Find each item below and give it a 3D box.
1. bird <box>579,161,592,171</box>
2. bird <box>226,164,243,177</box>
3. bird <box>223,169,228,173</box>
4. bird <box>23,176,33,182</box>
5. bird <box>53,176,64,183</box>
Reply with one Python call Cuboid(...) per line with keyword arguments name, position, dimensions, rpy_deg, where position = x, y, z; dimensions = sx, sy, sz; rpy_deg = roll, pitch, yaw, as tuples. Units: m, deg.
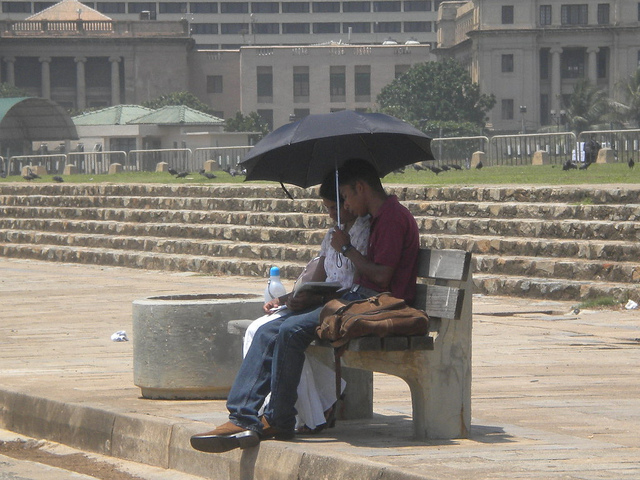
Cuboid(name="bird", position=(14.998, -4.149, 110.782), dimensions=(0.791, 0.422, 0.171), rpy_deg=(-36, 20, -7))
Cuboid(name="bird", position=(-5.254, -4.273, 117.724), dimensions=(0.896, 0.466, 0.941), rpy_deg=(3, 0, 2))
Cuboid(name="bird", position=(-5.802, -4.126, 118.974), dimensions=(0.078, 0.316, 0.299), rpy_deg=(-2, 8, 37))
Cuboid(name="bird", position=(-17.490, -3.614, 116.623), dimensions=(0.267, 0.250, 0.484), rpy_deg=(-8, 11, -32))
Cuboid(name="bird", position=(-15.385, -3.590, 114.310), dimensions=(0.291, 0.411, 0.805), rpy_deg=(24, 1, -30))
